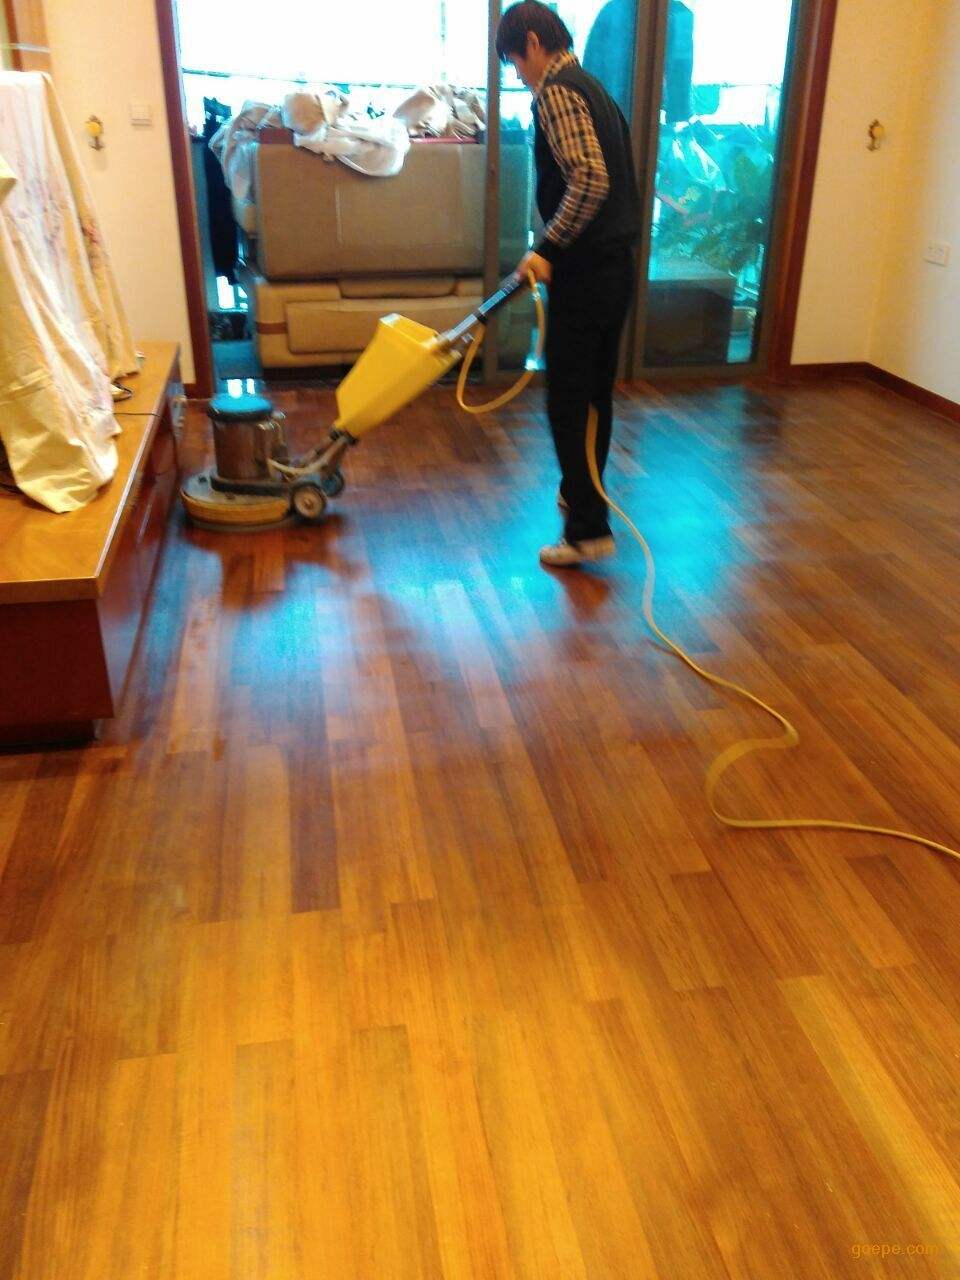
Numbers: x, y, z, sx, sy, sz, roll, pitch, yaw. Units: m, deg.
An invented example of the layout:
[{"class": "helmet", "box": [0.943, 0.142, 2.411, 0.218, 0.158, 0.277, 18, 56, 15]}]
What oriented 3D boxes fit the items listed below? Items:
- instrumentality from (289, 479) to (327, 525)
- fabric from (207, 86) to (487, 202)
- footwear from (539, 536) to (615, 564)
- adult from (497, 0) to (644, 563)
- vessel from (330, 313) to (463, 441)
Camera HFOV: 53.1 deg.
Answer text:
[{"class": "instrumentality", "box": [-0.541, -0.439, 3.048, 0.109, 0.111, 0.042, -27, 10, 19]}, {"class": "fabric", "box": [-0.539, -2.326, 4.764, 0.945, 0.385, 0.690, -17, 31, -42]}, {"class": "footwear", "box": [0.293, -0.267, 2.866, 0.180, 0.078, 0.094, -8, 28, -2]}, {"class": "adult", "box": [0.251, -0.891, 2.597, 0.357, 1.419, 0.371, -7, 30, -13]}, {"class": "vessel", "box": [-0.251, -0.755, 2.825, 0.258, 0.412, 0.099, 54, 30, 11]}]
